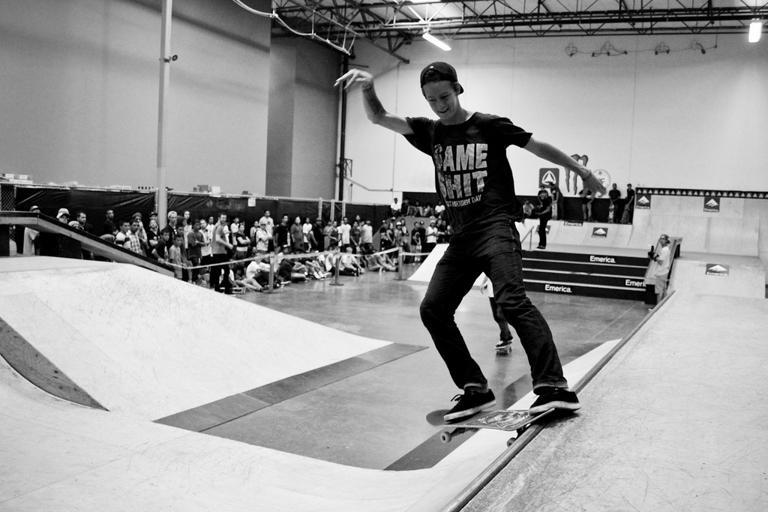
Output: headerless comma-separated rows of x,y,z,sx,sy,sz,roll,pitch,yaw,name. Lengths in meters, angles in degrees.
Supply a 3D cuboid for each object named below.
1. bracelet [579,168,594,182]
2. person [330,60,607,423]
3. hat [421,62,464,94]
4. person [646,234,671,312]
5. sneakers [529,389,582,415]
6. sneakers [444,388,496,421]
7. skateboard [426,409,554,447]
1.246,-0.498,3.485,0.117,0.069,0.031,30,-17,-37,bracelet
0.556,-0.206,3.537,1.347,2.413,0.814,-12,-20,31,person
0.376,-1.173,3.618,0.202,0.152,0.290,8,4,36,hat
6.886,0.376,14.139,0.523,1.705,1.448,-2,6,26,person
0.941,0.802,3.083,0.285,0.139,0.128,1,-14,-1,sneakers
0.563,0.946,3.639,0.424,0.172,0.143,-12,-7,-40,sneakers
0.596,0.970,3.274,0.257,0.105,0.662,-18,3,-42,skateboard
